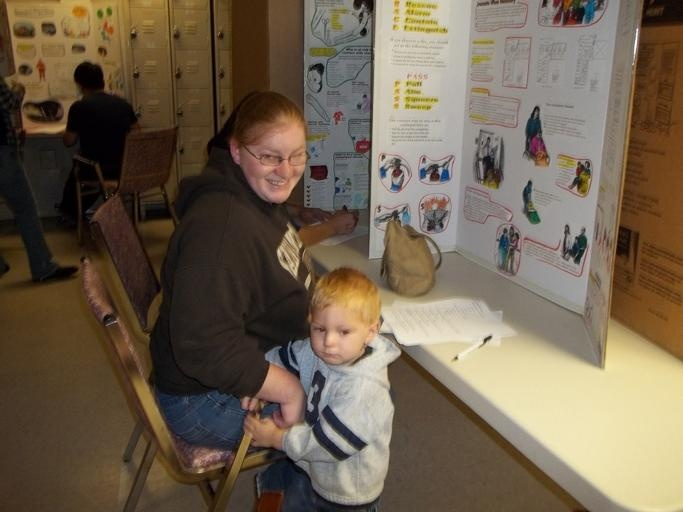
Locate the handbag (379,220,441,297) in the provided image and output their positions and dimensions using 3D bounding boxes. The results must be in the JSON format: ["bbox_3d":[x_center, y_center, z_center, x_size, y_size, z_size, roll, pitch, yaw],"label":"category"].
[{"bbox_3d":[0.232,0.009,1.610,0.234,0.270,0.183,5,-3,-10],"label":"handbag"}]
